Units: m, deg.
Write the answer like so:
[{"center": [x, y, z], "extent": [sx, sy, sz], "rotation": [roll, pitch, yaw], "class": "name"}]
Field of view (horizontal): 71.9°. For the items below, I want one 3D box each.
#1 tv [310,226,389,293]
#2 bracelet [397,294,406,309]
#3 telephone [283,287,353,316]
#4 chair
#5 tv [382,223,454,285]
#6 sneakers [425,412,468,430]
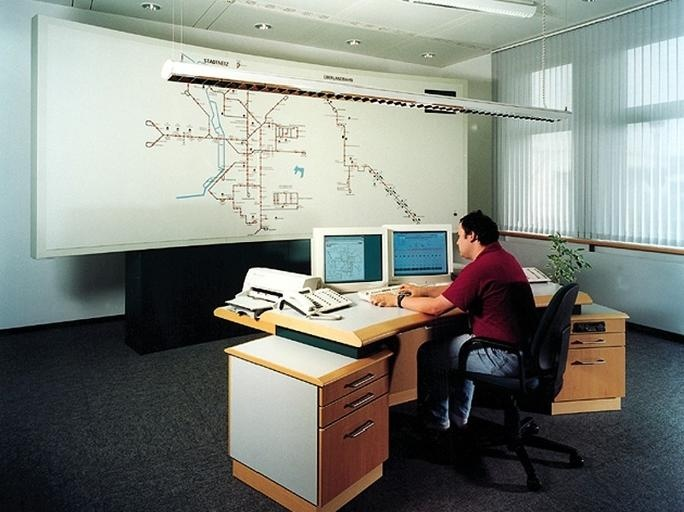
[{"center": [0.071, 0.009, 3.937], "extent": [0.809, 0.718, 0.434], "rotation": [-1, 0, -23], "class": "tv"}, {"center": [0.418, 0.332, 3.357], "extent": [0.038, 0.087, 0.062], "rotation": [4, -1, 31], "class": "bracelet"}, {"center": [-0.155, 0.328, 3.260], "extent": [0.510, 0.139, 0.295], "rotation": [-2, 15, -9], "class": "telephone"}, {"center": [1.222, 0.794, 3.715], "extent": [1.168, 1.574, 1.077], "rotation": [4, 2, 38], "class": "chair"}, {"center": [0.631, -0.083, 4.167], "extent": [0.757, 0.674, 0.436], "rotation": [-1, -2, -17], "class": "tv"}, {"center": [0.759, 1.174, 3.370], "extent": [0.198, 0.105, 0.272], "rotation": [2, -9, -32], "class": "sneakers"}]
